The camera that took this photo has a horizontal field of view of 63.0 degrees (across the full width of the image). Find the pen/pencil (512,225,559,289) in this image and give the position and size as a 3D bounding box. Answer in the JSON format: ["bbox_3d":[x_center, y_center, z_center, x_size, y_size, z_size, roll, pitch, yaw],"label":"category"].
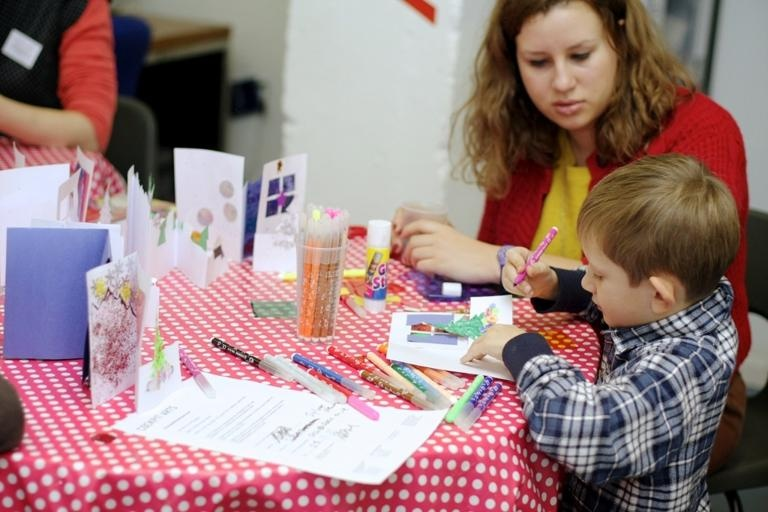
[{"bbox_3d":[0.385,0.006,1.582,0.025,0.184,0.028,26,11,-31],"label":"pen/pencil"}]

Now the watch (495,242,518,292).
[{"bbox_3d":[0.305,0.011,1.534,0.024,0.073,0.069,15,-8,26],"label":"watch"}]
